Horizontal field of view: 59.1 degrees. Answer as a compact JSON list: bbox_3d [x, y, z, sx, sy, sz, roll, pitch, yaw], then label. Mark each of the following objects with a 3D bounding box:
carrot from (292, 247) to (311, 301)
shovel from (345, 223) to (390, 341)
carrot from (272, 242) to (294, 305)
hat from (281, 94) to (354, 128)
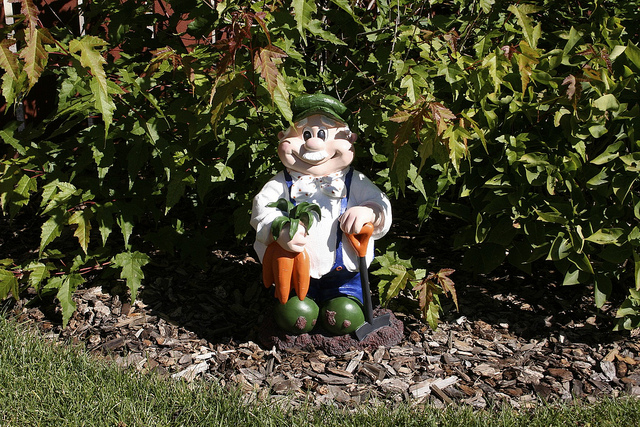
[{"bbox_3d":[-0.112,0.355,3.346,0.086,0.296,0.092,-14,9,-32],"label":"carrot"},{"bbox_3d":[0.288,0.433,3.505,0.165,0.547,0.473,5,-4,32],"label":"shovel"},{"bbox_3d":[-0.207,0.354,3.376,0.101,0.346,0.108,12,24,41],"label":"carrot"},{"bbox_3d":[-0.008,-0.626,3.357,0.285,0.087,0.224,3,0,22],"label":"hat"}]
